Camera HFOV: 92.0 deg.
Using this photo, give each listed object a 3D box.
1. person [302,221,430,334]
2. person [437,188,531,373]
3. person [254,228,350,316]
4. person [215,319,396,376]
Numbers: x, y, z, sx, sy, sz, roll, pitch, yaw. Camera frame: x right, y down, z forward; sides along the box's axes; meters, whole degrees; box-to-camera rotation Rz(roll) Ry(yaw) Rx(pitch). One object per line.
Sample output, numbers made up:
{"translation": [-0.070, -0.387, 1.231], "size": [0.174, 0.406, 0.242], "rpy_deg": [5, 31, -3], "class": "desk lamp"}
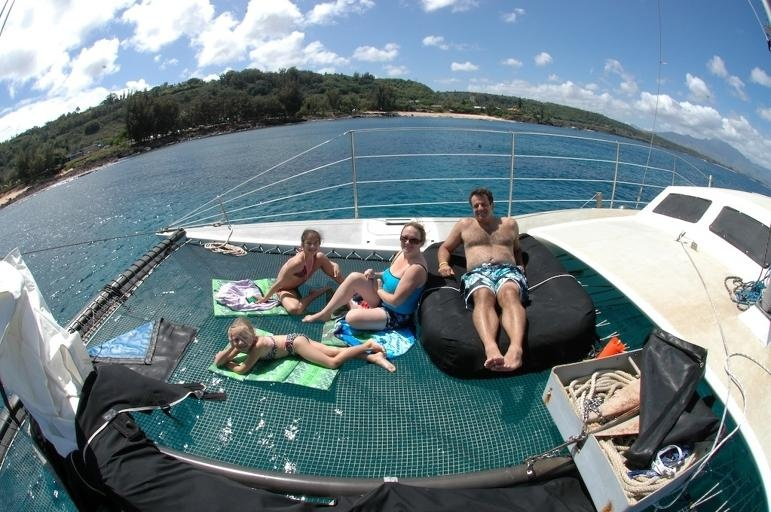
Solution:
{"translation": [-0.224, 0.249, 4.147], "size": [1.367, 1.125, 0.907], "rpy_deg": [2, 10, -6], "class": "person"}
{"translation": [1.092, 0.138, 3.941], "size": [1.007, 0.947, 2.224], "rpy_deg": [-3, 29, 11], "class": "person"}
{"translation": [-0.994, 0.158, 4.537], "size": [1.376, 0.880, 0.707], "rpy_deg": [-11, 22, -37], "class": "person"}
{"translation": [-0.814, 0.930, 3.767], "size": [1.748, 0.469, 0.488], "rpy_deg": [1, -7, -1], "class": "person"}
